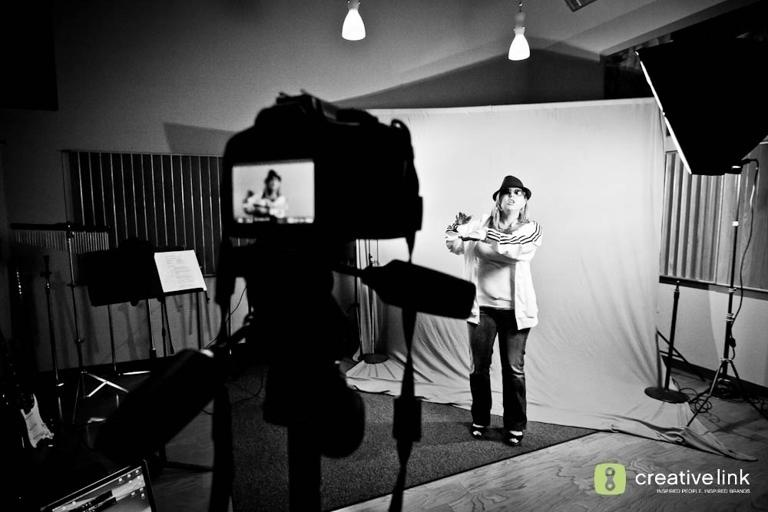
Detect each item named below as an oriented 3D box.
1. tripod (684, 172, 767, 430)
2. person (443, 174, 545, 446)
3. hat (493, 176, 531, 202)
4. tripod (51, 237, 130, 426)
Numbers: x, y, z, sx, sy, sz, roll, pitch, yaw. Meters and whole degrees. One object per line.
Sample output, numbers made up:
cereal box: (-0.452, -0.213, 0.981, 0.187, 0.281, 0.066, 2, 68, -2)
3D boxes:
tripod: (1.979, 0.206, 3.197, 0.466, 1.495, 0.341, -4, 7, -16)
person: (0.631, 0.318, 3.177, 0.553, 1.536, 0.194, -1, 7, 4)
hat: (0.731, -0.390, 3.148, 0.223, 0.140, 0.068, -4, 7, -17)
tripod: (-1.503, 0.366, 2.817, 0.291, 1.010, 0.054, -2, 7, 1)
